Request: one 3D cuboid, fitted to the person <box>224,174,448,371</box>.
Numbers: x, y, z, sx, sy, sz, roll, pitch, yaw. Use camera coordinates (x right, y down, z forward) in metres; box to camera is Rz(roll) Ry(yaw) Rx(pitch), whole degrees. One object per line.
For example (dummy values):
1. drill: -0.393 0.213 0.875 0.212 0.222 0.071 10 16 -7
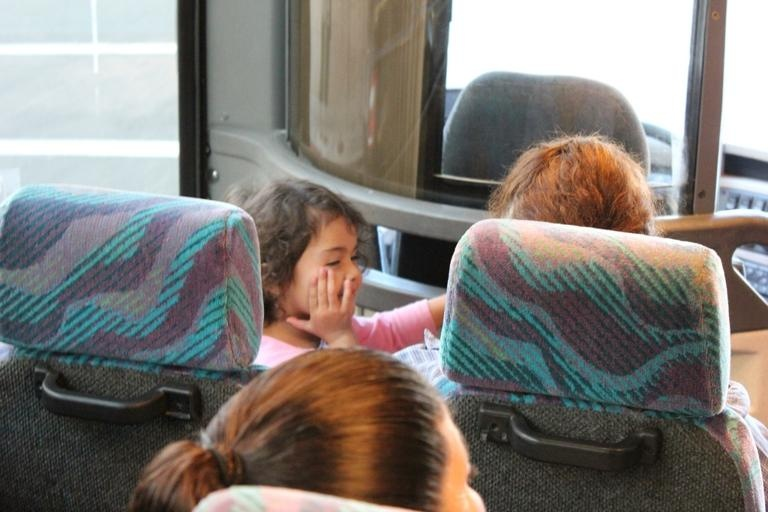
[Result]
1. person: -0.165 0.080 2.410 0.628 0.574 0.775 0 6 29
